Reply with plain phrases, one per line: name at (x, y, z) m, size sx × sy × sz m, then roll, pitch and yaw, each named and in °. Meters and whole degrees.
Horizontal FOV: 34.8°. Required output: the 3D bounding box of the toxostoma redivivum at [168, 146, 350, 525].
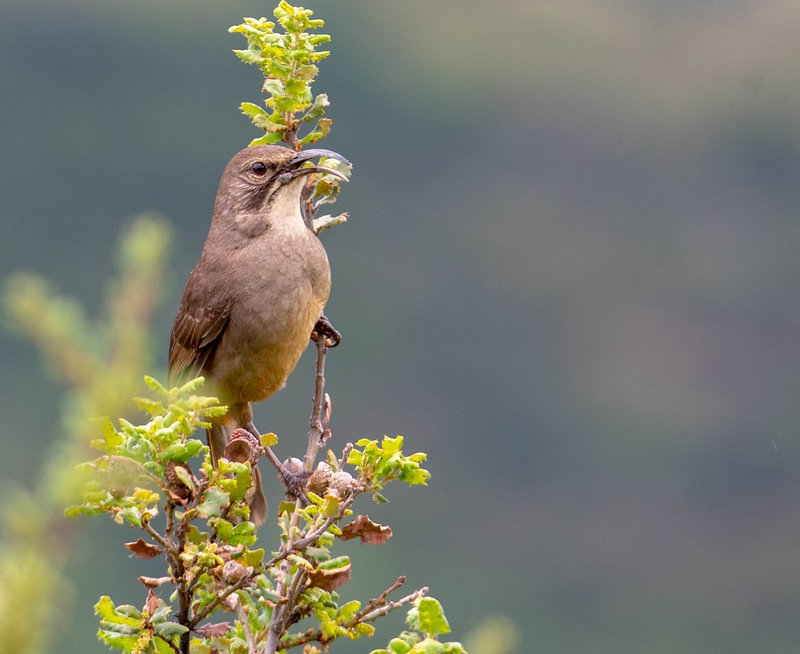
toxostoma redivivum at (-0.379, -0.043, 3.527) m, size 0.249 × 0.910 × 0.613 m, roll -11°, pitch 16°, yaw -44°
